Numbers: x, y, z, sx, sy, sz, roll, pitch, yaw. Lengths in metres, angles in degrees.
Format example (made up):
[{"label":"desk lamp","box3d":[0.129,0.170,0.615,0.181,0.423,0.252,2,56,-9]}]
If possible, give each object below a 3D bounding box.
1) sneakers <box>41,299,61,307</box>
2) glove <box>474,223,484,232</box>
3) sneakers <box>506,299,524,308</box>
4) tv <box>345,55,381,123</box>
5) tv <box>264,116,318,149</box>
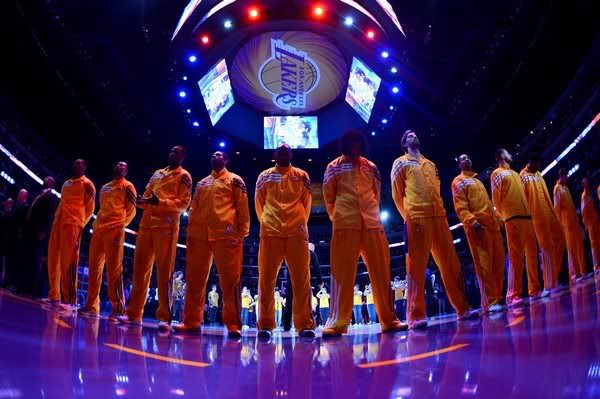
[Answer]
[{"label":"sneakers","box3d":[-5.221,2.181,8.859,0.510,0.201,0.194,-12,-29,31]},{"label":"glove","box3d":[3.314,0.511,7.844,0.148,0.149,0.152,-2,4,-16]},{"label":"sneakers","box3d":[4.135,1.995,8.112,0.195,0.162,0.388,-1,-18,-5]},{"label":"tv","box3d":[2.594,-4.526,17.035,0.156,1.610,2.193,-38,-11,-12]},{"label":"tv","box3d":[-0.398,-2.985,18.910,2.484,1.317,1.154,0,-45,0]}]
